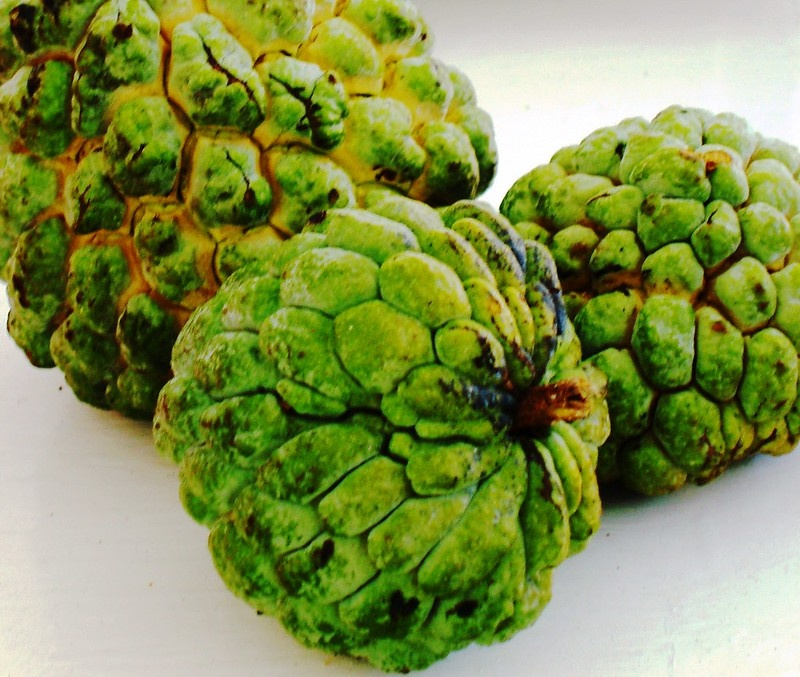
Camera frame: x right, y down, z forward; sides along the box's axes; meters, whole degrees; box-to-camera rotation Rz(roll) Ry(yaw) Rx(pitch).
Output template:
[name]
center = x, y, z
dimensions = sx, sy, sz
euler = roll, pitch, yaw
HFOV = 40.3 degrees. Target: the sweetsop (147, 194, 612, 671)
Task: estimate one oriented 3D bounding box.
[sweetsop]
center = -0.029, 0.098, 1.398
dimensions = 0.409, 0.590, 0.546
euler = 7, 36, -13
